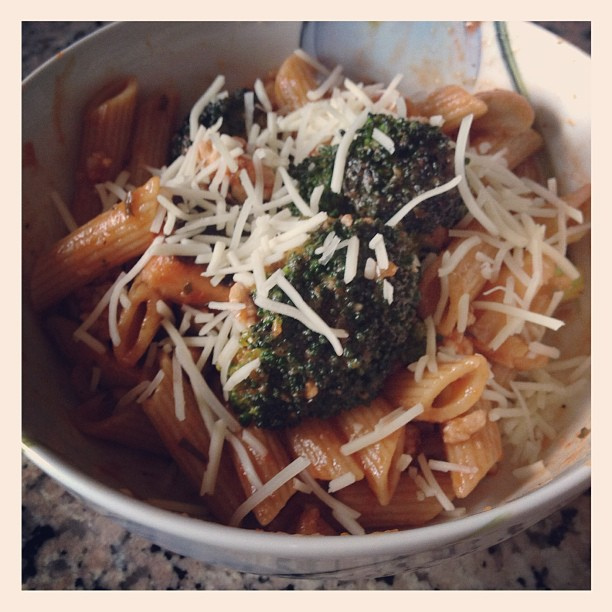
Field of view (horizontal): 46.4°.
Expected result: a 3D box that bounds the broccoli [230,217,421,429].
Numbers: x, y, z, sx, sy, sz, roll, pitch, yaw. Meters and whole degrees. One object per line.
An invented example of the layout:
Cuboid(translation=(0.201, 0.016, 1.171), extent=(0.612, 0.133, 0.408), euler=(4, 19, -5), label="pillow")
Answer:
Cuboid(translation=(0.018, 0.038, 1.475), extent=(0.321, 0.415, 0.119), euler=(33, -9, -10), label="broccoli")

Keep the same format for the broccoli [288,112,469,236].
Cuboid(translation=(0.147, -0.251, 1.422), extent=(0.351, 0.215, 0.203), euler=(-5, 35, -2), label="broccoli")

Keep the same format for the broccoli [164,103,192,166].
Cuboid(translation=(-0.277, -0.387, 1.600), extent=(0.035, 0.071, 0.125), euler=(33, 58, -15), label="broccoli")

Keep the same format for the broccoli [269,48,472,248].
Cuboid(translation=(0.087, -0.325, 1.503), extent=(0.502, 0.287, 0.211), euler=(24, 1, 19), label="broccoli")

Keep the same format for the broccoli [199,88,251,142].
Cuboid(translation=(-0.164, -0.419, 1.556), extent=(0.117, 0.032, 0.085), euler=(-27, 80, -25), label="broccoli")
